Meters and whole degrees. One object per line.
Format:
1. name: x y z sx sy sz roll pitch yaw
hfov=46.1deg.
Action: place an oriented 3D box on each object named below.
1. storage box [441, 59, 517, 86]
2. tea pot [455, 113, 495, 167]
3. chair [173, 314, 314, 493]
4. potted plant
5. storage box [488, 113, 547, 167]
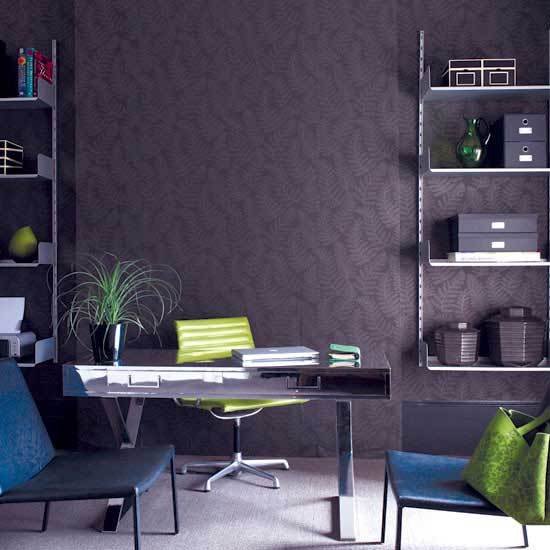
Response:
1. storage box: 1.122 -1.098 3.518 0.348 0.149 0.067 2 9 11
2. tea pot: 1.107 -0.739 3.622 0.188 0.278 0.174 -4 19 1
3. chair: -0.200 0.662 3.443 0.650 0.839 0.607 1 -1 -40
4. potted plant: -0.862 0.219 3.308 0.581 0.413 0.540 6 0 -31
5. storage box: 1.323 -0.734 3.520 0.186 0.251 0.351 0 3 2
